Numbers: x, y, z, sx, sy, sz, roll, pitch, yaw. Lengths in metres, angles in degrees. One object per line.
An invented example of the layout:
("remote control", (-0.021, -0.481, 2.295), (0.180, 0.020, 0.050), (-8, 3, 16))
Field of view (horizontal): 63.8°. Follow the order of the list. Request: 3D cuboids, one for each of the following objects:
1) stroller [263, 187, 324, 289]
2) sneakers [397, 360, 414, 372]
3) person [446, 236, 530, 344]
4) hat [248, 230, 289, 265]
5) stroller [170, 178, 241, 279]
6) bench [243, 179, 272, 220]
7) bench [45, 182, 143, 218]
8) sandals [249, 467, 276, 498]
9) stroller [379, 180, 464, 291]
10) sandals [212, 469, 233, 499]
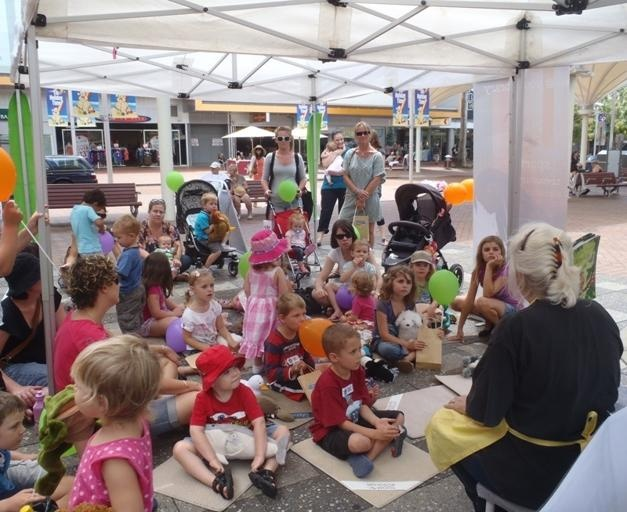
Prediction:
("stroller", (-0.284, -0.267, 7.485), (0.555, 1.295, 0.953), (-12, 19, -15))
("sneakers", (0.833, 1.000, 4.612), (0.151, 0.078, 0.065), (5, 11, 31))
("person", (1.778, 0.332, 5.194), (0.764, 0.992, 0.605), (1, 2, 0))
("hat", (-0.456, -0.080, 4.905), (0.329, 0.185, 0.337), (-38, 29, -18))
("stroller", (-1.781, -0.471, 8.195), (1.025, 1.409, 0.912), (13, 16, 38))
("bench", (-1.751, -1.818, 15.243), (0.357, 0.572, 0.859), (7, -6, 33))
("bench", (-6.070, -1.483, 13.908), (2.412, 0.844, 0.698), (-6, -2, -30))
("sandals", (-0.309, 1.355, 3.091), (0.099, 0.088, 0.220), (-17, 46, -34))
("stroller", (1.391, -0.254, 6.725), (1.134, 1.452, 0.834), (-10, 10, -41))
("sandals", (-0.546, 1.370, 3.037), (0.083, 0.083, 0.207), (0, 0, -14))
